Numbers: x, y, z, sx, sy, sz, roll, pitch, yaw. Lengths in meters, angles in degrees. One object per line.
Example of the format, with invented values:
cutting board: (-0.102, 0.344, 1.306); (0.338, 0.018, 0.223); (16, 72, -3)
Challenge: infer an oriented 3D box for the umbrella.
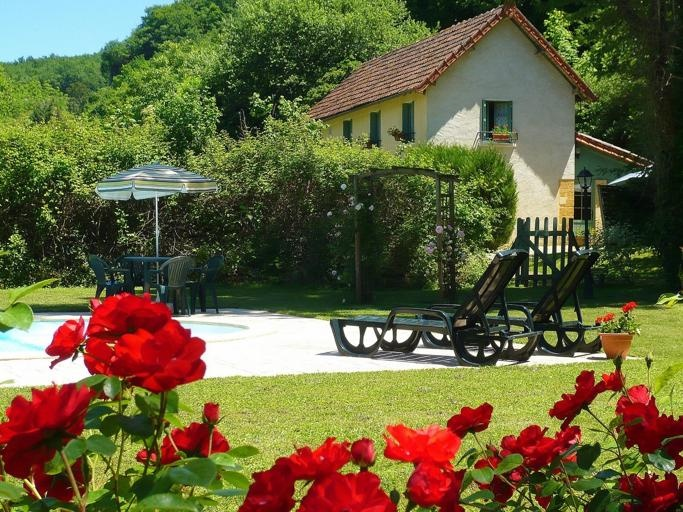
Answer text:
umbrella: (-4.181, -0.859, 24.259); (1.949, 2.453, 2.164); (9, 7, 32)

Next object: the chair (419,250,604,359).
chair: (3.243, 0.825, 19.714); (1.825, 2.219, 3.224); (0, 2, -40)

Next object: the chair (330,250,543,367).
chair: (1.699, 0.859, 19.062); (3.336, 2.023, 1.924); (1, -1, 32)
